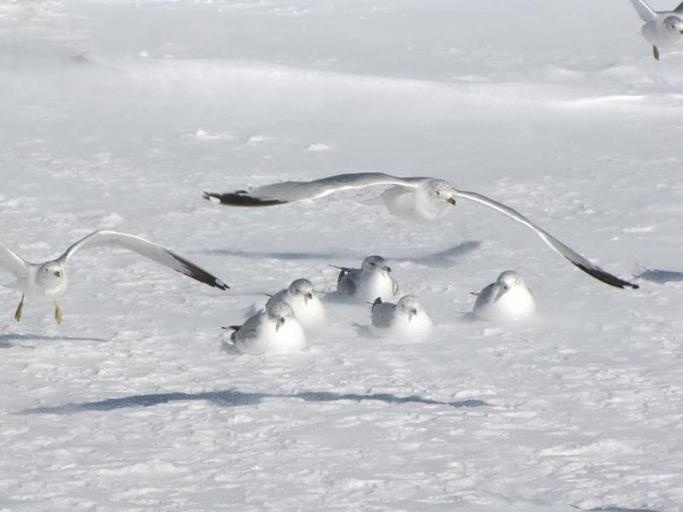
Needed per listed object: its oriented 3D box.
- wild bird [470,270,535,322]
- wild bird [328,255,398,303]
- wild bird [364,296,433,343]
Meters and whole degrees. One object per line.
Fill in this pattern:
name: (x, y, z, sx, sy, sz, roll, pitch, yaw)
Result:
wild bird: (1.949, 0.476, 13.889, 0.670, 0.410, 0.809, -5, 19, -7)
wild bird: (0.328, 0.326, 14.347, 0.975, 0.408, 0.640, 8, 9, 44)
wild bird: (0.679, 0.707, 13.308, 0.778, 0.530, 0.369, 12, 27, 23)
